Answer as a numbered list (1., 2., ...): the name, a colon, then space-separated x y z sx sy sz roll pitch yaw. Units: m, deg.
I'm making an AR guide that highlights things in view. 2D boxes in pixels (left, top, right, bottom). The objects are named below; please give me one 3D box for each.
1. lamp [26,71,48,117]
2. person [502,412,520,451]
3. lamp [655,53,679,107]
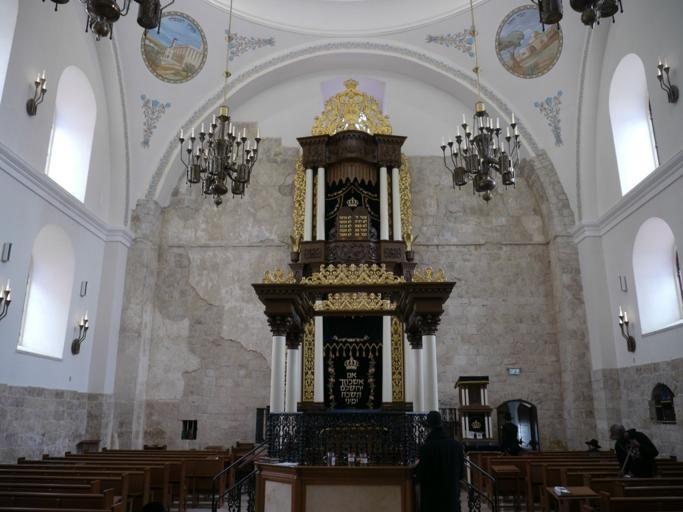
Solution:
1. lamp: -7.539 -4.089 14.430 0.379 1.348 0.629 12 -23 -29
2. person: 4.282 4.481 14.753 0.447 1.048 0.665 -6 -21 16
3. lamp: 7.588 -4.215 13.573 0.384 1.321 0.801 -13 -24 32
